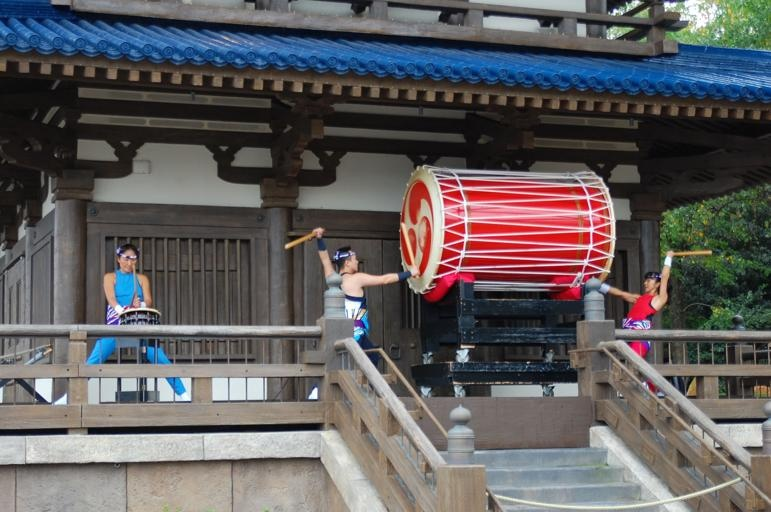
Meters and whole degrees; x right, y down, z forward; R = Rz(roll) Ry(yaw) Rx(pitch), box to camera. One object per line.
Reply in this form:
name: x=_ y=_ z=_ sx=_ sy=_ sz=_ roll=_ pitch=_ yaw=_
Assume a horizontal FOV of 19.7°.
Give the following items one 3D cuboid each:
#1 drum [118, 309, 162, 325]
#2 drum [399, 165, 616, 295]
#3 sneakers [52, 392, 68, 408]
drum: x=-3.352 y=0.835 z=30.557 sx=0.339 sy=0.114 sz=0.323 roll=1 pitch=-10 yaw=0
drum: x=1.767 y=-0.370 z=32.298 sx=2.524 sy=1.914 sz=1.894 roll=0 pitch=-32 yaw=-10
sneakers: x=-4.347 y=1.971 z=30.166 sx=0.180 sy=0.127 sz=0.180 roll=1 pitch=0 yaw=39
